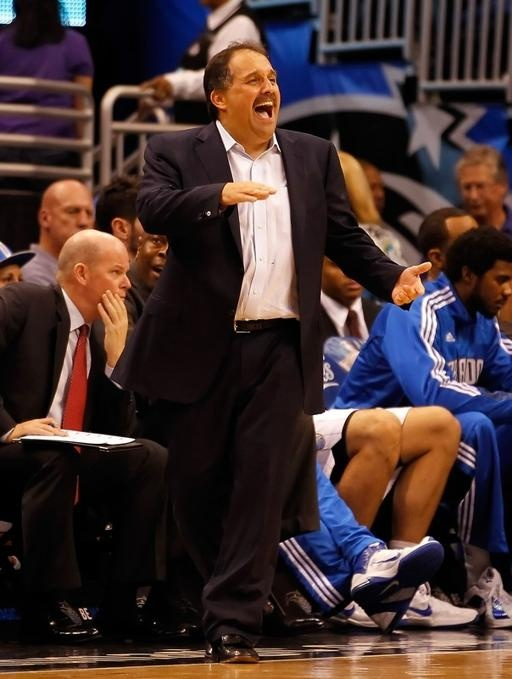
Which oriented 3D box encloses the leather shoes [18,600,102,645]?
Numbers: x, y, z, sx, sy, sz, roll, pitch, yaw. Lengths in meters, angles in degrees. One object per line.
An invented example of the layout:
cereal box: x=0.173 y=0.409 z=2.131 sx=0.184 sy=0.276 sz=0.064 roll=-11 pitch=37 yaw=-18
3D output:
leather shoes: x=-0.508 y=0.721 z=2.147 sx=0.178 sy=0.066 sz=0.109 roll=-6 pitch=-6 yaw=30

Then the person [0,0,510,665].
person: x=0.001 y=-0.048 z=1.874 sx=0.580 sy=1.304 sz=0.486 roll=3 pitch=5 yaw=-25

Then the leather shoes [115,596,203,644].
leather shoes: x=-0.260 y=0.751 z=2.242 sx=0.184 sy=0.063 sz=0.112 roll=-6 pitch=-9 yaw=36

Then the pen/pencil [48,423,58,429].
pen/pencil: x=-0.527 y=0.227 z=2.171 sx=0.014 sy=0.006 sz=0.018 roll=17 pitch=-11 yaw=0

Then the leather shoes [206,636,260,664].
leather shoes: x=-0.042 y=0.639 z=1.720 sx=0.050 sy=0.040 sz=0.114 roll=8 pitch=-14 yaw=-28
